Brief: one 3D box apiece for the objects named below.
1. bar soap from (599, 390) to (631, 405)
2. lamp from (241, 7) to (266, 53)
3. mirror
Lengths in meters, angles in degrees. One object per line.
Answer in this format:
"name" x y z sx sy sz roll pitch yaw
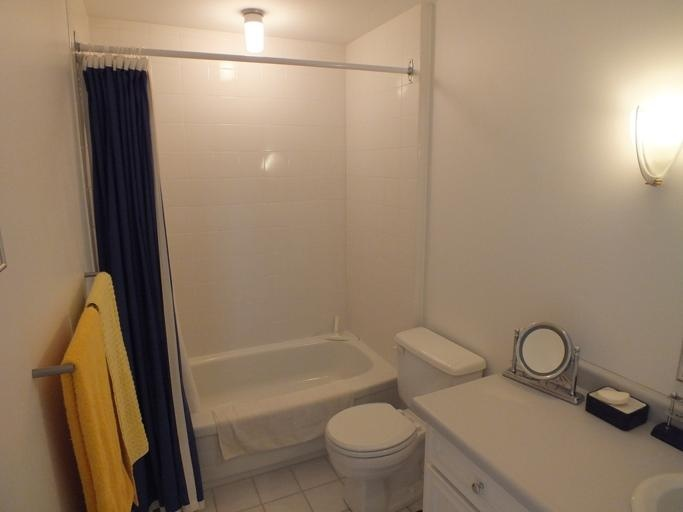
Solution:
"bar soap" 1.079 0.563 1.988 0.119 0.040 0.078 5 18 28
"lamp" -0.533 -1.373 3.038 0.172 0.253 0.188 2 38 -1
"mirror" 0.903 0.480 2.206 0.095 0.282 0.297 -4 7 -36
